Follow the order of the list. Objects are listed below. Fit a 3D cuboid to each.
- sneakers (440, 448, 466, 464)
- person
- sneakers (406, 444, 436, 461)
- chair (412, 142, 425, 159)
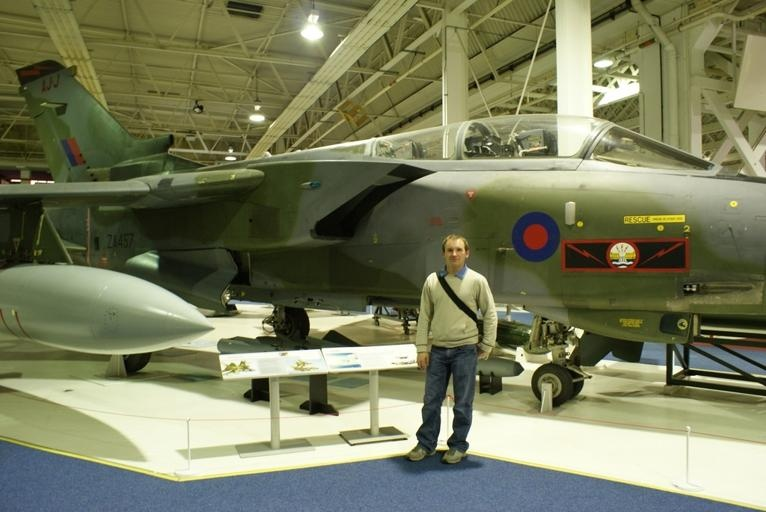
[{"bbox_3d":[0.849,2.465,7.775,0.145,0.096,0.300,-13,-15,41],"label":"sneakers"},{"bbox_3d":[0.847,1.136,7.847,1.129,2.729,0.904,-6,15,-18],"label":"person"},{"bbox_3d":[0.475,2.456,7.887,0.351,0.112,0.149,4,-9,-33],"label":"sneakers"},{"bbox_3d":[0.557,-1.654,9.984,0.191,0.239,0.158,0,12,16],"label":"chair"}]
